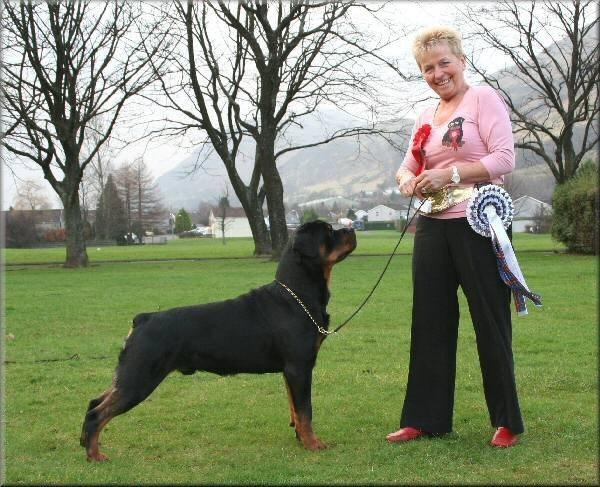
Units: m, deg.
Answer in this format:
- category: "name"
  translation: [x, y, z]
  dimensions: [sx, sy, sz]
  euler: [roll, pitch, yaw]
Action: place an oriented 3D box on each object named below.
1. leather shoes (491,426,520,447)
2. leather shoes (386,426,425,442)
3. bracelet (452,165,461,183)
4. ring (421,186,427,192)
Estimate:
- category: "leather shoes"
  translation: [2.272, 2.141, 8.639]
  dimensions: [0.359, 0.189, 0.175]
  euler: [-3, 9, -10]
- category: "leather shoes"
  translation: [1.183, 2.159, 8.866]
  dimensions: [0.407, 0.169, 0.164]
  euler: [1, -4, -13]
- category: "bracelet"
  translation: [1.705, -0.758, 8.594]
  dimensions: [0.101, 0.175, 0.043]
  euler: [1, 9, 12]
- category: "ring"
  translation: [1.374, -0.605, 8.710]
  dimensions: [0.041, 0.043, 0.010]
  euler: [11, 23, -1]
